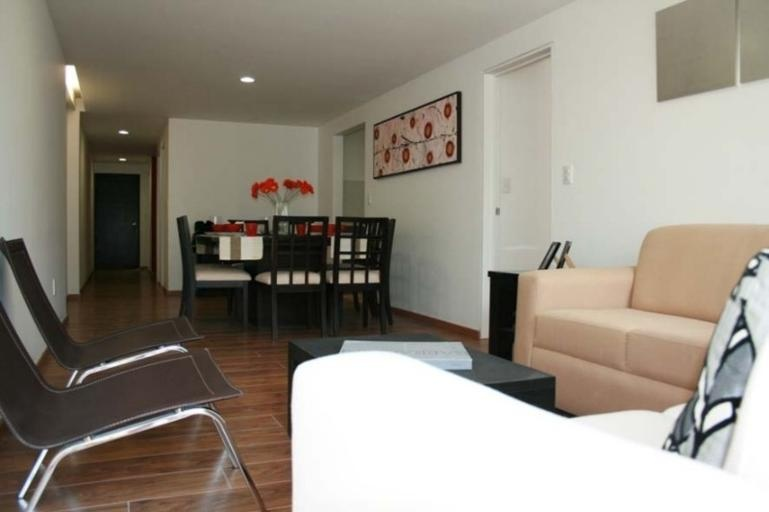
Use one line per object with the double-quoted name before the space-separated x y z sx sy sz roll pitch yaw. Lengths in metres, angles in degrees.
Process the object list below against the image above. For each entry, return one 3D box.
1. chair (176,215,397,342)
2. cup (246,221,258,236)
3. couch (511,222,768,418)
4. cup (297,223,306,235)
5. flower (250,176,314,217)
"chair" -0.746 0.081 5.236 1.349 0.757 1.380 0 1 -15
"cup" -1.208 -0.255 4.907 0.107 0.087 0.104 1 8 0
"couch" 1.305 0.333 2.796 0.902 0.980 1.303 4 -3 -22
"cup" -0.746 -0.240 4.854 0.082 0.098 0.084 1 6 0
"flower" -1.502 -0.843 7.513 0.902 0.591 0.914 7 11 44
